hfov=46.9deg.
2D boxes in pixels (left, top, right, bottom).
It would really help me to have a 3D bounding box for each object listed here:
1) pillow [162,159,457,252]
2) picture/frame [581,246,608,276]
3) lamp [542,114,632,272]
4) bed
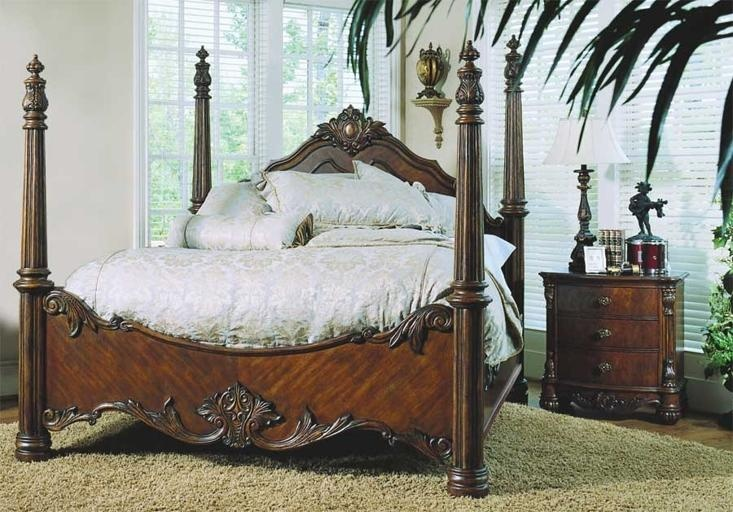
[{"bbox_3d":[-0.340,-0.290,5.132,0.832,0.472,1.047,1,-1,10],"label":"pillow"},{"bbox_3d":[1.417,0.028,5.238,0.184,0.232,0.025,1,-12,3],"label":"picture/frame"},{"bbox_3d":[1.389,-0.418,5.420,0.527,0.950,0.677,4,14,16],"label":"lamp"},{"bbox_3d":[-0.176,0.389,5.377,2.686,2.531,2.906,0,-1,18],"label":"bed"}]
